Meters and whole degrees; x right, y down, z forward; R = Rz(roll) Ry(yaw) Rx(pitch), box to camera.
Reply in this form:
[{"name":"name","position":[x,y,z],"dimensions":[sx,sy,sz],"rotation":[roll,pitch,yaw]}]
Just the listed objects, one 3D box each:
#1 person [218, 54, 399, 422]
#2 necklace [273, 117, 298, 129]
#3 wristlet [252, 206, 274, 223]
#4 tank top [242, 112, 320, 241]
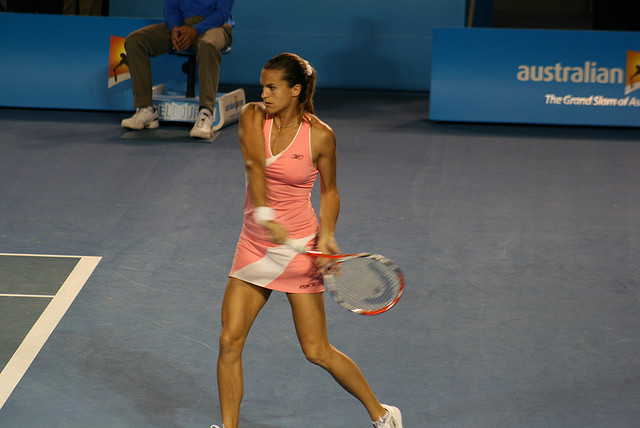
[{"name":"person","position":[-0.154,0.164,3.620],"dimensions":[0.957,2.029,0.617],"rotation":[-5,20,-9]},{"name":"necklace","position":[-0.189,-0.497,3.550],"dimensions":[0.132,0.049,0.032],"rotation":[-1,20,2]},{"name":"wristlet","position":[-0.303,-0.001,3.515],"dimensions":[0.097,0.085,0.093],"rotation":[8,-12,-26]},{"name":"tank top","position":[-0.211,-0.208,3.716],"dimensions":[0.501,0.770,0.411],"rotation":[4,0,5]}]
